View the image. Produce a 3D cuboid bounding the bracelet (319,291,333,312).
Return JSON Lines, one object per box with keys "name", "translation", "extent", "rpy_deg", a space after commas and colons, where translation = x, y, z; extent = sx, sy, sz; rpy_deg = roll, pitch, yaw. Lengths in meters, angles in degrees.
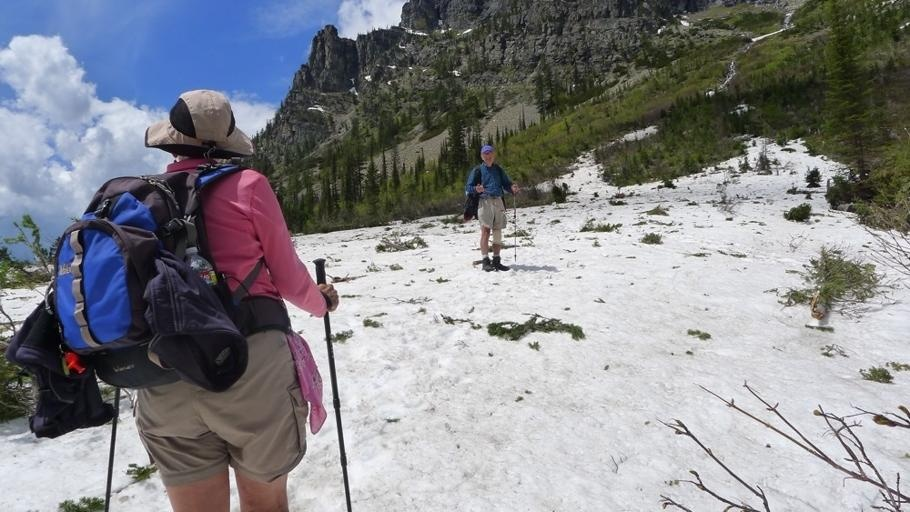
{"name": "bracelet", "translation": [-2.630, 0.955, 12.810], "extent": [0.318, 0.338, 0.339], "rpy_deg": [-29, 12, -36]}
